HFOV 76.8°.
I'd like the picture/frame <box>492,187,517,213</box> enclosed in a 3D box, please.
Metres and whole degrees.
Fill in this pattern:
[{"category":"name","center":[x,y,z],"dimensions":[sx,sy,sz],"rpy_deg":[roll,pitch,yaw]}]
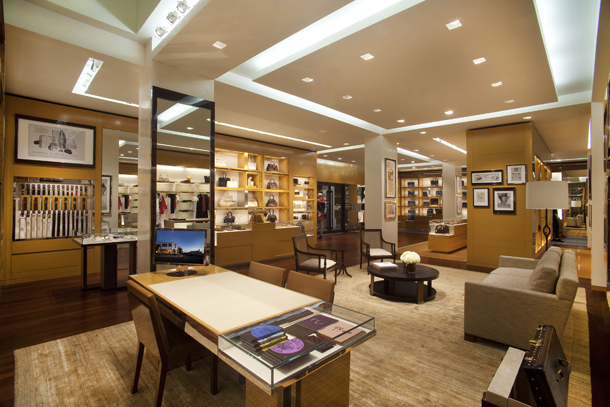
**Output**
[{"category":"picture/frame","center":[4.932,-0.073,9.443],"dimensions":[0.092,0.823,0.634],"rpy_deg":[3,-1,-43]}]

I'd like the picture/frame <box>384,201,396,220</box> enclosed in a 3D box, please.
[{"category":"picture/frame","center":[2.420,0.211,10.874],"dimensions":[0.114,0.525,0.717],"rpy_deg":[0,1,33]}]

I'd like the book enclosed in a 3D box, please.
[{"category":"book","center":[-0.326,1.540,4.176],"dimensions":[0.441,0.102,0.449],"rpy_deg":[8,8,43]}]

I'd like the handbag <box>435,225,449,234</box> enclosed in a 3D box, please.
[{"category":"handbag","center":[4.092,0.831,11.577],"dimensions":[0.454,0.419,0.243],"rpy_deg":[-5,-10,40]}]

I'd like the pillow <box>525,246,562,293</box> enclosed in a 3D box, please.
[{"category":"pillow","center":[3.863,1.081,6.228],"dimensions":[0.389,0.276,1.702],"rpy_deg":[-12,-4,24]}]

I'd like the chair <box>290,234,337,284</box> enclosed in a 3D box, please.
[{"category":"chair","center":[0.241,1.170,8.390],"dimensions":[1.024,1.358,0.989],"rpy_deg":[-1,-1,28]}]

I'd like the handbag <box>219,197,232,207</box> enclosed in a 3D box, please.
[{"category":"handbag","center":[-2.202,-0.060,10.741],"dimensions":[0.175,0.284,0.447],"rpy_deg":[1,1,42]}]

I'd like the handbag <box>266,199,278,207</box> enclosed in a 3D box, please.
[{"category":"handbag","center":[-1.040,0.001,11.846],"dimensions":[0.248,0.229,0.112],"rpy_deg":[5,-8,-41]}]

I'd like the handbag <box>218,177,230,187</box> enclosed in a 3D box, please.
[{"category":"handbag","center":[-2.249,-0.581,10.594],"dimensions":[0.107,0.228,0.258],"rpy_deg":[-5,-6,35]}]

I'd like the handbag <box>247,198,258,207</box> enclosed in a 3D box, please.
[{"category":"handbag","center":[-1.570,0.000,11.259],"dimensions":[0.110,0.246,0.463],"rpy_deg":[0,1,31]}]

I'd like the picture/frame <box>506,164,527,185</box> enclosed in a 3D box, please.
[{"category":"picture/frame","center":[5.134,-0.694,9.285],"dimensions":[0.558,0.638,0.049],"rpy_deg":[1,-1,44]}]

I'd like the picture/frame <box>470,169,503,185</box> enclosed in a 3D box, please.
[{"category":"picture/frame","center":[4.590,-0.655,9.694],"dimensions":[0.728,0.358,0.132],"rpy_deg":[0,1,27]}]

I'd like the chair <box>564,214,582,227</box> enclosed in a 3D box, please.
[{"category":"chair","center":[14.019,0.981,20.045],"dimensions":[0.756,0.634,0.792],"rpy_deg":[0,-1,34]}]

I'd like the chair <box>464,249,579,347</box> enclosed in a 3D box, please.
[{"category":"chair","center":[3.412,0.955,6.067],"dimensions":[1.333,1.174,2.368],"rpy_deg":[1,3,33]}]

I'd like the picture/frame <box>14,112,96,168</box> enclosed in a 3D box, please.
[{"category":"picture/frame","center":[-5.309,-1.329,8.019],"dimensions":[1.287,0.903,0.055],"rpy_deg":[-1,5,-36]}]
